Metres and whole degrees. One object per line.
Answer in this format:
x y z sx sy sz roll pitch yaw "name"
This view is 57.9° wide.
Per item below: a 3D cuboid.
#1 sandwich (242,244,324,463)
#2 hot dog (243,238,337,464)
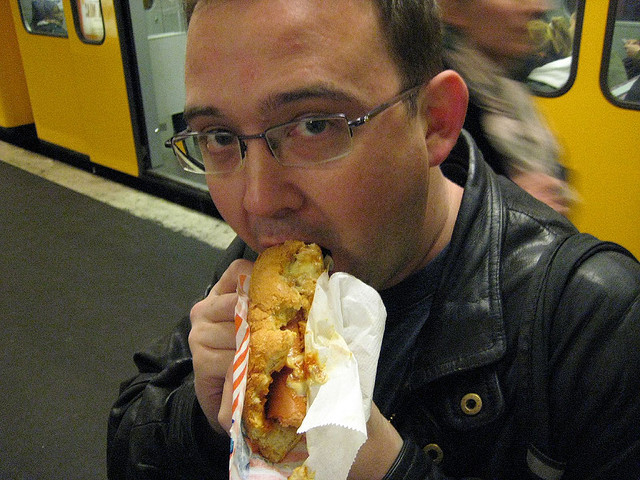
-0.080 0.343 1.871 0.326 0.614 0.190 -4 -4 26 "sandwich"
-0.153 0.317 1.927 0.239 0.418 0.744 -13 49 31 "hot dog"
